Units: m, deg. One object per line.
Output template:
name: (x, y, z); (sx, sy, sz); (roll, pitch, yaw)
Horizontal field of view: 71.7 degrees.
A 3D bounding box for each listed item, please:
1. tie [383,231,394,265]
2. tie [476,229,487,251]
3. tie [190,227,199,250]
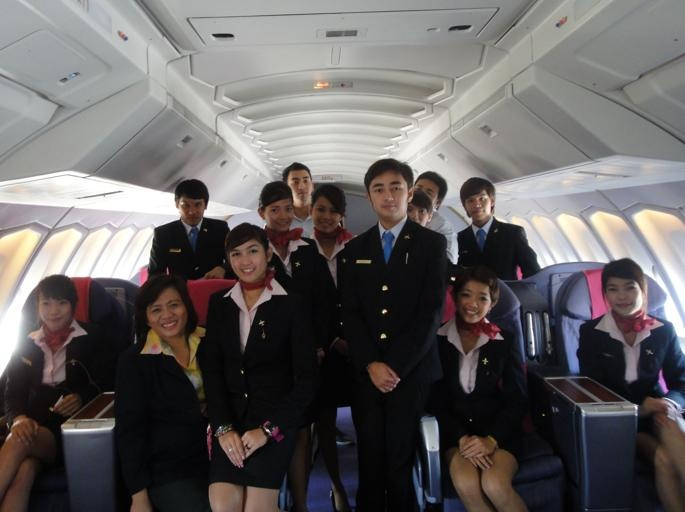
tie: (0.374, -0.063, 3.846); (0.075, 0.265, 0.071); (0, -6, 12)
tie: (1.587, -0.188, 5.424); (0.049, 0.225, 0.132); (5, -15, -31)
tie: (-1.686, -0.211, 5.397); (0.068, 0.296, 0.089); (0, -3, 3)
